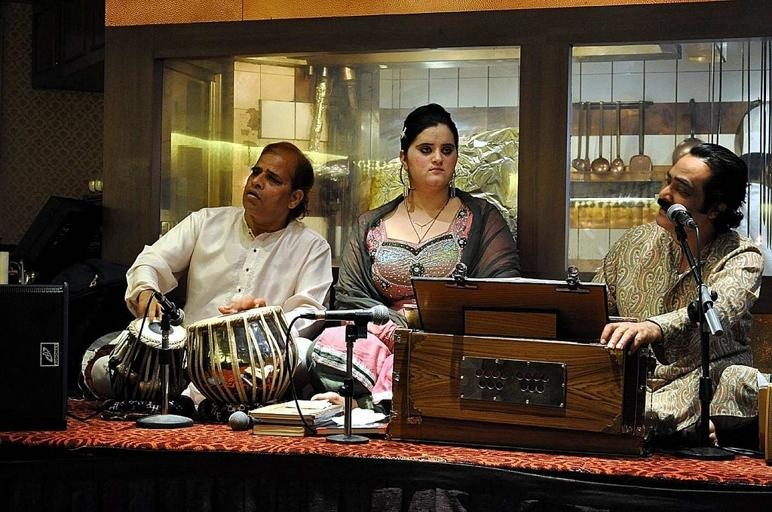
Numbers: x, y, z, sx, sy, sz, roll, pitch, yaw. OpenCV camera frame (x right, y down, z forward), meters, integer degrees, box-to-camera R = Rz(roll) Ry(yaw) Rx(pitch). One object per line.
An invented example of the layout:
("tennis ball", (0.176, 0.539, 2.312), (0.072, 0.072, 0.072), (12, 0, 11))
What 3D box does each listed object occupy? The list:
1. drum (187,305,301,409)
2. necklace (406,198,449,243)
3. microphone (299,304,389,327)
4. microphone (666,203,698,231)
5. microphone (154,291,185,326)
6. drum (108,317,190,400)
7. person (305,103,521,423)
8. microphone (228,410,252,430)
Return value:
("drum", (-0.698, 0.508, 4.073), (0.534, 0.427, 0.514), (-8, -9, -1))
("necklace", (0.257, -0.201, 4.592), (0.320, 0.366, 0.040), (0, -37, 13))
("microphone", (-0.192, 0.260, 3.492), (0.372, 0.092, 0.278), (-1, 4, -10))
("microphone", (1.308, -0.174, 3.435), (0.098, 0.099, 0.158), (0, 4, 11))
("microphone", (-1.036, 0.247, 3.710), (0.118, 0.171, 0.234), (-2, 4, -17))
("drum", (-1.212, 0.555, 4.103), (0.389, 0.418, 0.288), (2, 5, 32))
("person", (0.138, -0.086, 4.437), (1.097, 1.603, 0.828), (-4, 5, -36))
("microphone", (-0.681, 0.765, 3.641), (0.090, 0.063, 0.089), (5, -3, -2))
